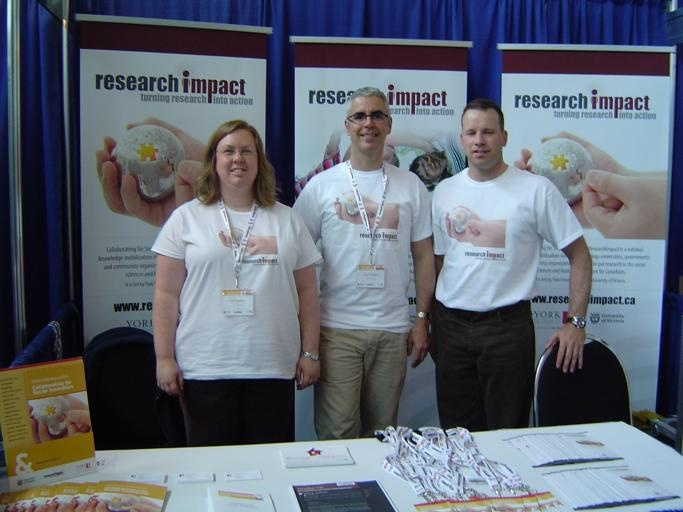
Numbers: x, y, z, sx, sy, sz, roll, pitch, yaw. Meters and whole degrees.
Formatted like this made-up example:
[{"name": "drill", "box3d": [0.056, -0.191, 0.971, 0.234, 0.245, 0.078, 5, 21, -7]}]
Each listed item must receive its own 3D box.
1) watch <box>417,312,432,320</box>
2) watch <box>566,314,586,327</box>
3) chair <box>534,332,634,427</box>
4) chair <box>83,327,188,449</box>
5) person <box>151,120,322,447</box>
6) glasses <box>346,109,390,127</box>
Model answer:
[{"name": "watch", "box3d": [0.465, 0.339, 3.265, 0.057, 0.047, 0.065, 6, 0, -18]}, {"name": "watch", "box3d": [1.265, 0.359, 3.098, 0.090, 0.061, 0.081, 18, -14, -38]}, {"name": "chair", "box3d": [1.158, 0.636, 2.923, 0.357, 0.602, 0.422, -1, -12, 3]}, {"name": "chair", "box3d": [-1.309, 0.776, 3.448, 0.462, 0.745, 0.649, -2, 8, -20]}, {"name": "person", "box3d": [-0.520, 0.119, 2.851, 0.812, 1.559, 0.401, -1, 8, -3]}, {"name": "glasses", "box3d": [0.142, -0.755, 3.131, 0.227, 0.065, 0.083, 0, 10, 5]}]
